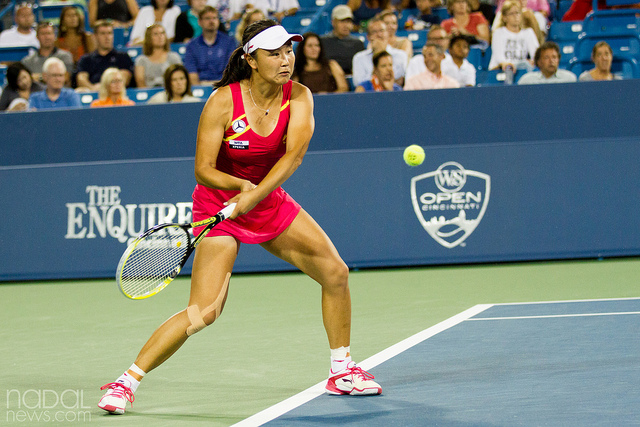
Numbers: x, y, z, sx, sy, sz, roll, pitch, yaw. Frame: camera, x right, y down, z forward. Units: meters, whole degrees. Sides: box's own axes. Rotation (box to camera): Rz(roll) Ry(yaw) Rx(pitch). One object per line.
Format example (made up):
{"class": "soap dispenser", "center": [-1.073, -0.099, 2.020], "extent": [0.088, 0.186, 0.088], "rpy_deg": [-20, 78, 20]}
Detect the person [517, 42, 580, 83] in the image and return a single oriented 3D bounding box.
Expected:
{"class": "person", "center": [2.867, -1.899, 9.232], "extent": [0.701, 0.483, 0.511], "rpy_deg": [1, 10, 19]}

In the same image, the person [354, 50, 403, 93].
{"class": "person", "center": [0.798, -1.880, 9.827], "extent": [0.843, 0.662, 0.382], "rpy_deg": [0, 0, -30]}

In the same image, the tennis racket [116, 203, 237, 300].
{"class": "tennis racket", "center": [-1.038, 0.279, 5.119], "extent": [0.739, 0.577, 0.281], "rpy_deg": [-5, 10, -12]}

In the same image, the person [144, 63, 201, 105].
{"class": "person", "center": [-2.039, -1.724, 9.859], "extent": [0.836, 0.491, 0.349], "rpy_deg": [2, -8, -20]}

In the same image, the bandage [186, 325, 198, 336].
{"class": "bandage", "center": [-0.914, 0.819, 5.163], "extent": [0.067, 0.053, 0.069], "rpy_deg": [10, -2, -8]}

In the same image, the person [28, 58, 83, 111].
{"class": "person", "center": [-3.522, -1.676, 9.638], "extent": [0.761, 0.766, 0.389], "rpy_deg": [-9, 27, -39]}

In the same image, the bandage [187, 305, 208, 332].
{"class": "bandage", "center": [-0.869, 0.733, 5.137], "extent": [0.119, 0.191, 0.054], "rpy_deg": [-4, 10, -11]}

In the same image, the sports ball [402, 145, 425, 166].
{"class": "sports ball", "center": [1.057, -0.649, 8.352], "extent": [0.207, 0.214, 0.205], "rpy_deg": [-21, -7, -3]}
